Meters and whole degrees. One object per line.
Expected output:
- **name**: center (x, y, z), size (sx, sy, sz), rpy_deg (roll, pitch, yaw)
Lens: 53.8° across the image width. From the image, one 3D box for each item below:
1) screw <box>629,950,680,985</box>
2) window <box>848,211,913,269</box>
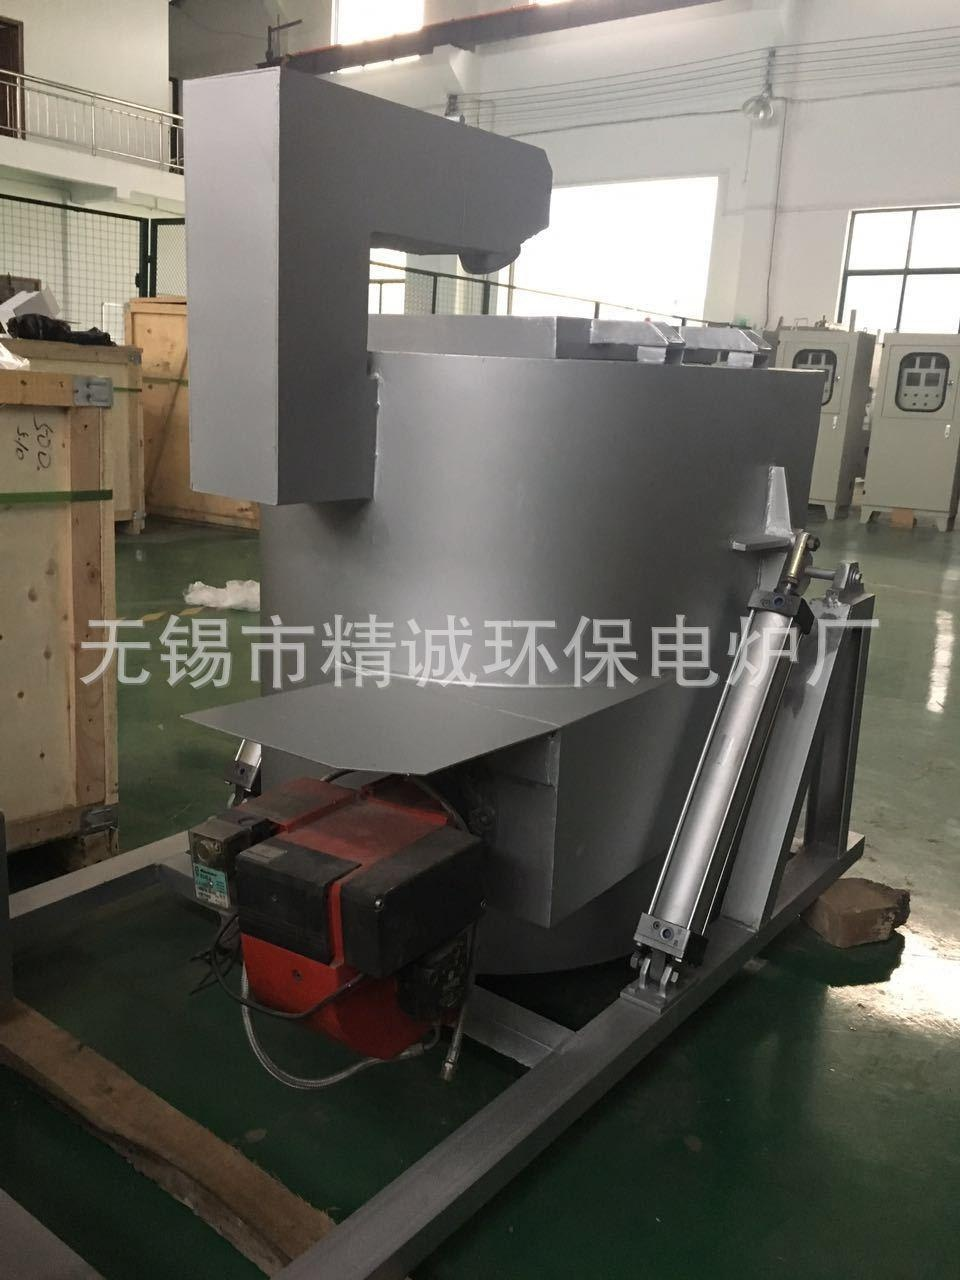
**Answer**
- **screw**: center (0.299, 0.555, 1.640), size (0.065, 0.064, 0.072), rpy_deg (3, -31, 28)
- **window**: center (4.988, -4.989, 11.732), size (0.673, 0.668, 0.064), rpy_deg (16, 27, 37)
